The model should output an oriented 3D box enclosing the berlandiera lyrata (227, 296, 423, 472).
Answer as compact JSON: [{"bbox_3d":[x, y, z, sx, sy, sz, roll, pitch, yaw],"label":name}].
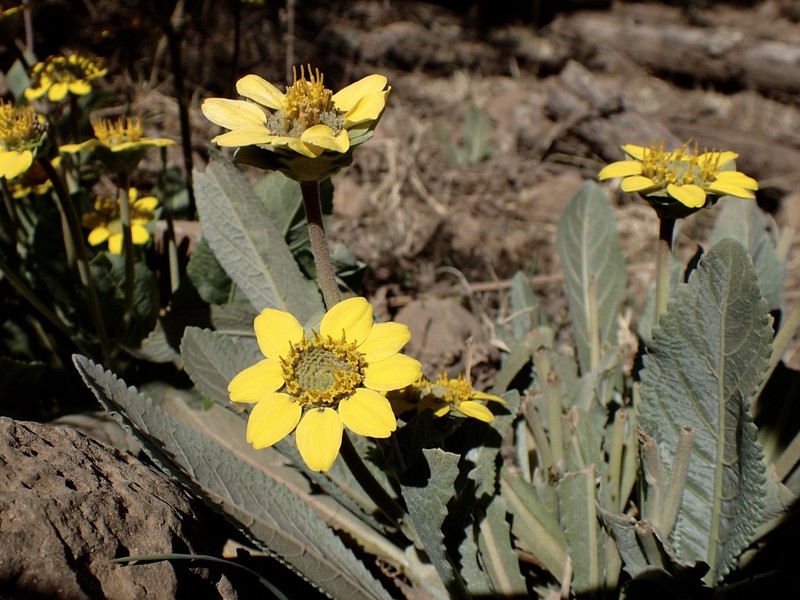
[{"bbox_3d":[-0.193,0.191,2.128,0.457,0.130,0.433,-36,45,-26],"label":"berlandiera lyrata"}]

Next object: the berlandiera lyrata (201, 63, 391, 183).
[{"bbox_3d":[-0.242,-0.413,2.132,0.314,0.202,0.318,-17,17,-28],"label":"berlandiera lyrata"}]

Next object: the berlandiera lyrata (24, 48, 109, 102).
[{"bbox_3d":[-0.997,-0.675,2.736,0.175,0.071,0.178,-21,39,-30],"label":"berlandiera lyrata"}]

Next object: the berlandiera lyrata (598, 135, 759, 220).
[{"bbox_3d":[0.681,-0.316,2.286,0.344,0.164,0.319,-1,33,-11],"label":"berlandiera lyrata"}]
